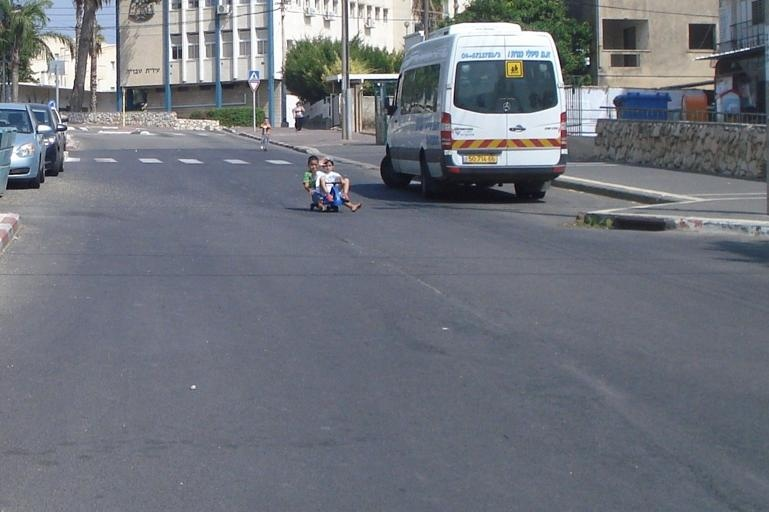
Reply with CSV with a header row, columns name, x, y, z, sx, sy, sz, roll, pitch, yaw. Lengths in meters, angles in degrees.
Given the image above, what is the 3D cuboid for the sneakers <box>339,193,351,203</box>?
name,x,y,z,sx,sy,sz,roll,pitch,yaw
sneakers,-0.809,-1.176,16.102,0.175,0.070,0.126,34,4,19

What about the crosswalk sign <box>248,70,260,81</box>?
name,x,y,z,sx,sy,sz,roll,pitch,yaw
crosswalk sign,-8.502,-11.636,51.630,0.554,0.767,1.145,-2,11,-15

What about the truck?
name,x,y,z,sx,sy,sz,roll,pitch,yaw
truck,1.860,-3.776,19.471,2.166,3.237,5.570,-1,11,-12

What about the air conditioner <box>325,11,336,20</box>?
name,x,y,z,sx,sy,sz,roll,pitch,yaw
air conditioner,-5.846,-25.539,84.278,0.245,0.990,2.320,3,12,21

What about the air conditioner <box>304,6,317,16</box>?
name,x,y,z,sx,sy,sz,roll,pitch,yaw
air conditioner,-7.603,-25.485,81.446,1.201,1.185,0.770,-3,11,-17

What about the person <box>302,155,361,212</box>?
name,x,y,z,sx,sy,sz,roll,pitch,yaw
person,-1.155,-1.478,16.059,1.223,1.100,0.859,11,12,35

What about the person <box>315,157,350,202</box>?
name,x,y,z,sx,sy,sz,roll,pitch,yaw
person,-1.018,-1.494,16.040,0.810,0.941,0.637,3,12,36
